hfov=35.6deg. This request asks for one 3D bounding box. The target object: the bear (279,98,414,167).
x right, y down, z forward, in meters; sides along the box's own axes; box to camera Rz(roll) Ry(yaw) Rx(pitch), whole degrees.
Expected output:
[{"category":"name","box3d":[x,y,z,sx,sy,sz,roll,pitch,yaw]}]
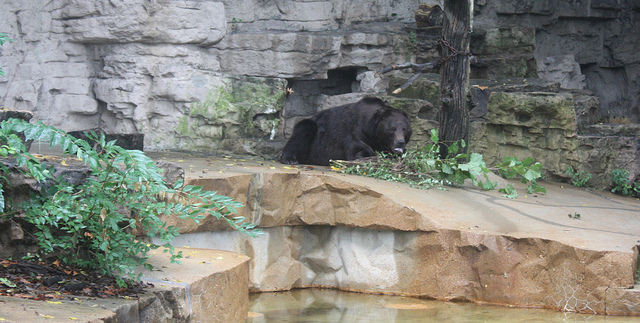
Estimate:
[{"category":"bear","box3d":[0.535,-0.604,20.407,2.489,1.284,0.612,0,0,13]}]
